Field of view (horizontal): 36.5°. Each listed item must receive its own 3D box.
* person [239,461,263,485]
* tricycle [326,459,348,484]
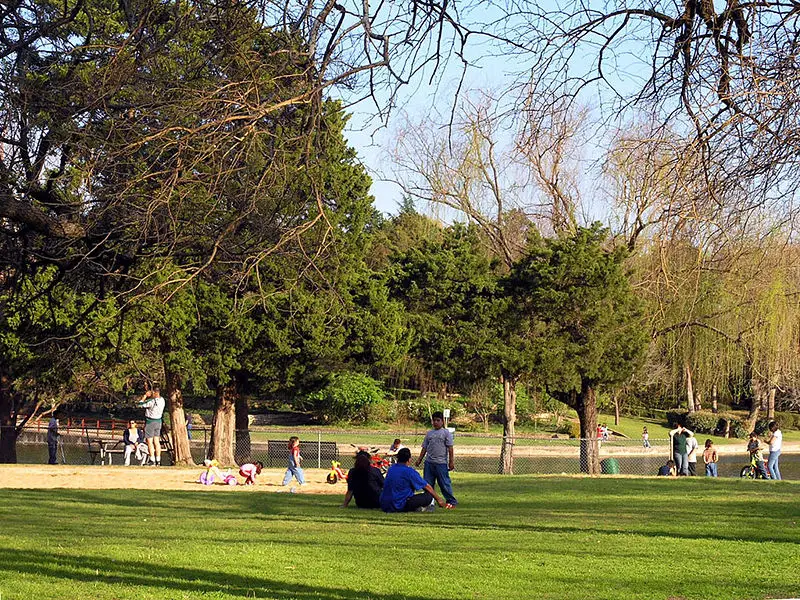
[{"bbox_3d":[-4.008,4.614,32.608,0.543,0.735,2.010,3,-12,-8],"label":"person"},{"bbox_3d":[-1.786,4.838,34.256,0.383,0.604,0.841,-4,-8,34],"label":"tricycle"}]
